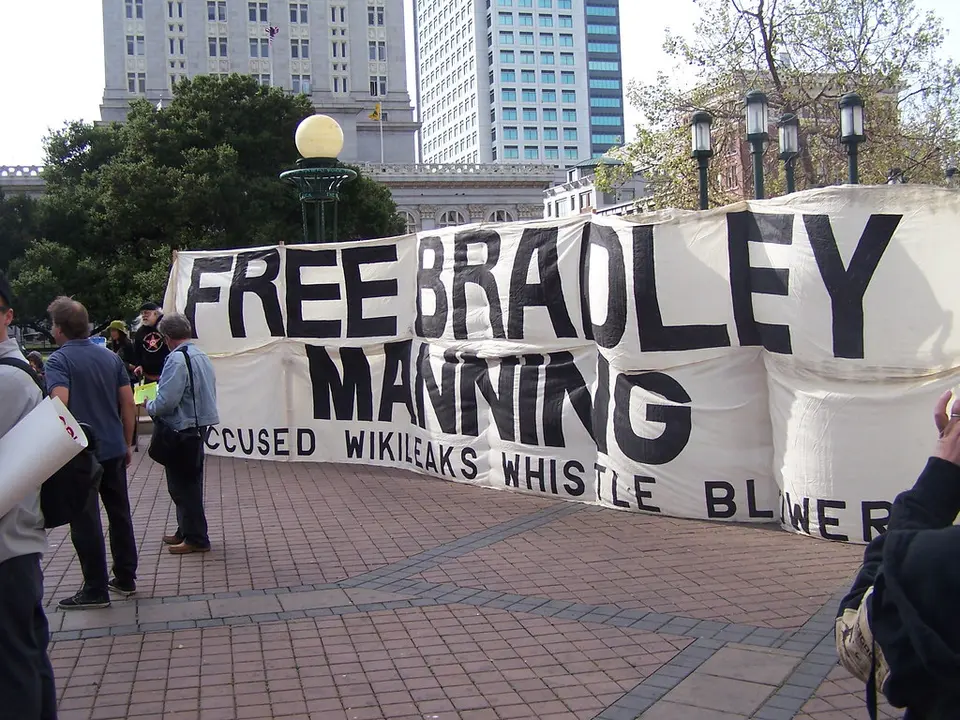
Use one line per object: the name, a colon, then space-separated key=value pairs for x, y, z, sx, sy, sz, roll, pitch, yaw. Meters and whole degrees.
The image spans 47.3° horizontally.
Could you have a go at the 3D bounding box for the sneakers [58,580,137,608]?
sneakers: x=-2.939 y=1.796 z=8.463 sx=0.519 sy=0.207 sz=0.192 roll=2 pitch=-4 yaw=-7

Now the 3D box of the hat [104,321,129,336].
hat: x=-4.955 y=-0.448 z=15.004 sx=0.330 sy=0.197 sz=0.374 roll=10 pitch=-2 yaw=3

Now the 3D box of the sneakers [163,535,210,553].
sneakers: x=-2.649 y=1.662 z=9.848 sx=0.431 sy=0.189 sz=0.164 roll=7 pitch=3 yaw=8
